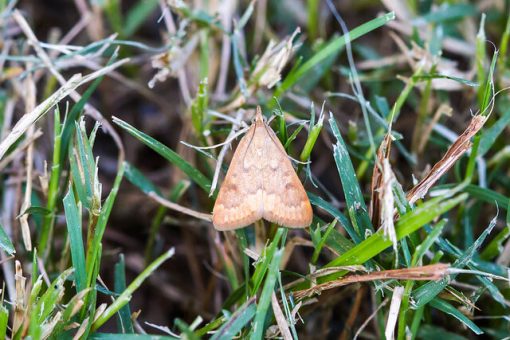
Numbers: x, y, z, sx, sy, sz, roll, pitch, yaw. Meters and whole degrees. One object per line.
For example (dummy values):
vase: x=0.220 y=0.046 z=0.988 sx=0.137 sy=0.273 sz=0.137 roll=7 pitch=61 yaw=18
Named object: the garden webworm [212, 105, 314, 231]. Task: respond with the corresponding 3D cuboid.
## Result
garden webworm: x=0.009 y=0.002 z=1.086 sx=0.239 sy=0.075 sz=0.317 roll=-2 pitch=85 yaw=5
